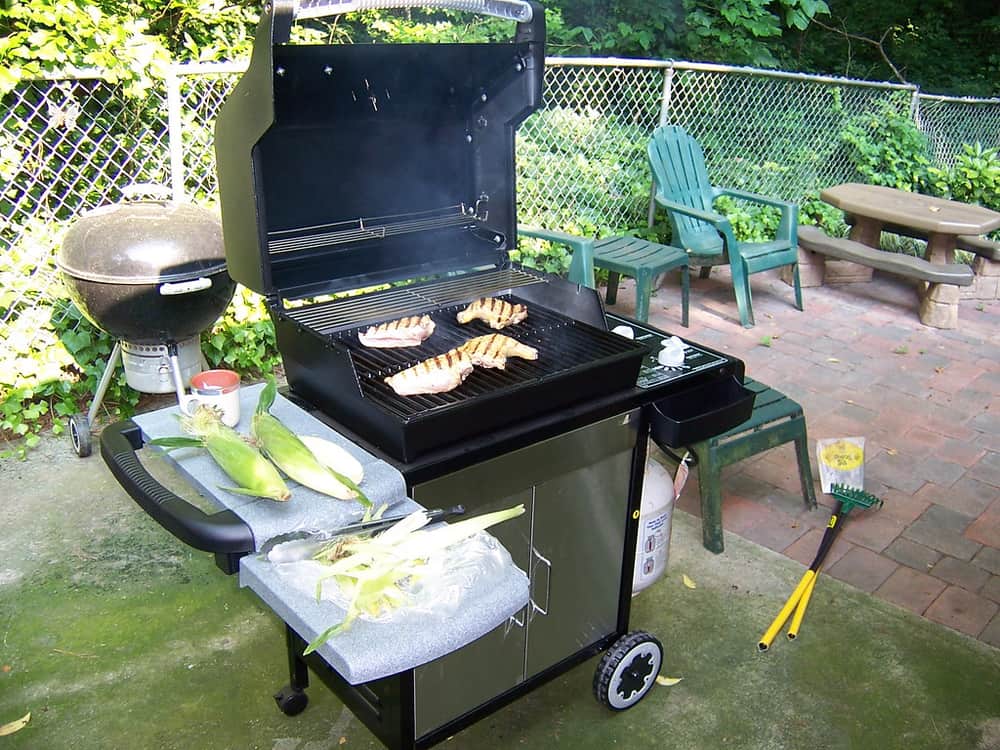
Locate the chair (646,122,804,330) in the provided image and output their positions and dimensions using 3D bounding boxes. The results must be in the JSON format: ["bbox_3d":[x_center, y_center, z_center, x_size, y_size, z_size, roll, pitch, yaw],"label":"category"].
[{"bbox_3d":[1.561,-1.053,5.491,0.949,1.193,1.154,-17,32,-22],"label":"chair"}]

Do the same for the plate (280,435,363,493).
[{"bbox_3d":[-0.406,0.200,1.945,0.166,0.105,0.194,-14,21,-43],"label":"plate"}]

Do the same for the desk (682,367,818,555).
[{"bbox_3d":[0.989,0.320,3.462,0.674,0.583,0.659,-23,41,-15],"label":"desk"}]

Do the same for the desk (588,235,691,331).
[{"bbox_3d":[0.909,-0.615,5.029,0.642,0.498,0.649,-29,42,-33],"label":"desk"}]

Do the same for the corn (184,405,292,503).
[{"bbox_3d":[-0.628,0.202,1.909,0.328,0.112,0.147,26,10,30],"label":"corn"}]
